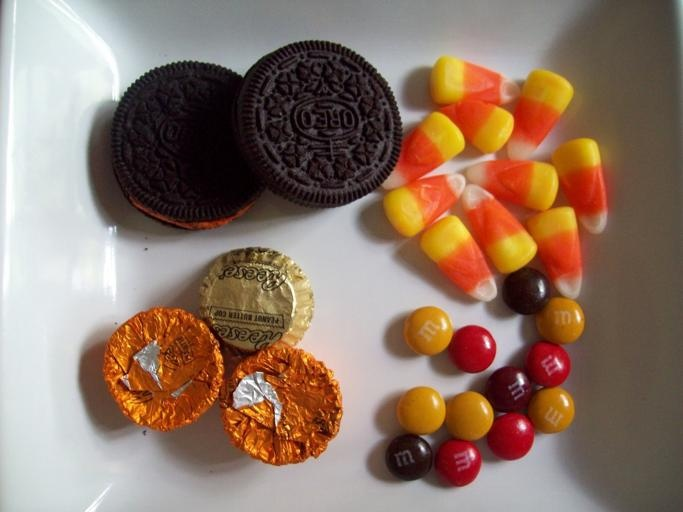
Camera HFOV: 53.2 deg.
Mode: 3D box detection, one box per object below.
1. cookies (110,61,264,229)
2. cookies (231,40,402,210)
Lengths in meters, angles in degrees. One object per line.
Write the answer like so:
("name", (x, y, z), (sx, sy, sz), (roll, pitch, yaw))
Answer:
("cookies", (-0.413, -0.281, 1.765), (0.371, 0.417, 0.101), (-24, -3, -14))
("cookies", (-0.067, -0.341, 1.880), (0.385, 0.401, 0.454), (-18, 49, -23))
